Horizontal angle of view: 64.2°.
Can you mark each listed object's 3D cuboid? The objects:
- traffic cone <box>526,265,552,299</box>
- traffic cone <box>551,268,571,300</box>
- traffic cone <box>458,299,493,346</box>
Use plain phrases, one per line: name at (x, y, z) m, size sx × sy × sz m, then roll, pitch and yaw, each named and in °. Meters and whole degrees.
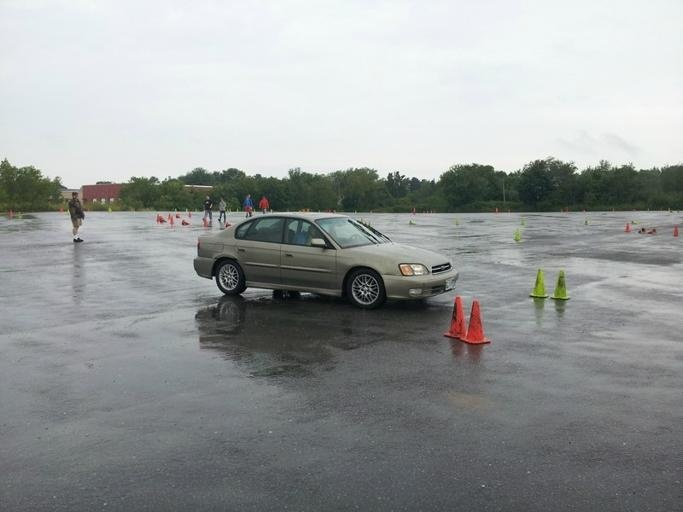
traffic cone at (5.087, 0.701, 14.075) m, size 0.507 × 0.830 × 0.553 m, roll -3°, pitch 7°, yaw -23°
traffic cone at (5.468, 0.723, 13.604) m, size 0.542 × 0.786 × 0.541 m, roll 0°, pitch 4°, yaw -17°
traffic cone at (2.129, 1.094, 8.971) m, size 0.565 × 0.886 × 0.606 m, roll 1°, pitch 2°, yaw 2°
